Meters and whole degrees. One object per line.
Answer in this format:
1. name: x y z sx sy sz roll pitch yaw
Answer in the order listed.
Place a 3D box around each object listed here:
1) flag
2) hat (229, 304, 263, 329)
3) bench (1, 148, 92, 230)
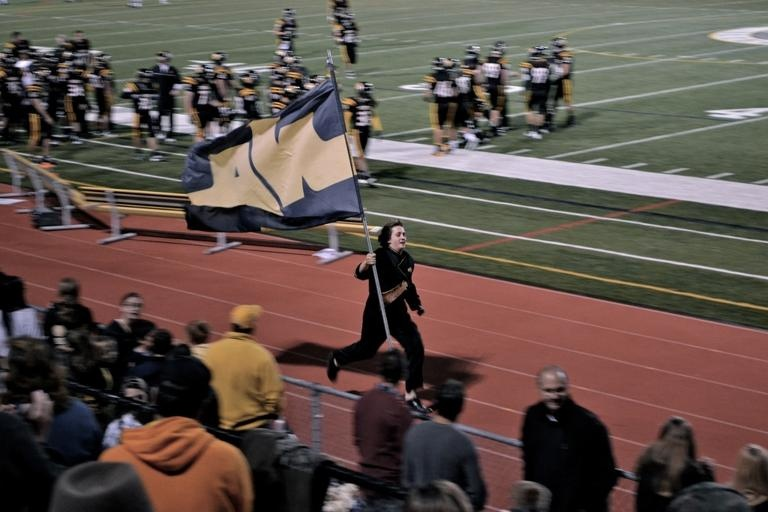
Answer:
1. flag: -1.405 -1.254 14.526 2.482 1.926 0.715 4 20 31
2. hat: -1.517 0.654 12.182 0.319 0.260 0.198 -6 15 -7
3. bench: -6.315 -1.204 20.933 0.768 0.470 2.563 -20 34 -40
